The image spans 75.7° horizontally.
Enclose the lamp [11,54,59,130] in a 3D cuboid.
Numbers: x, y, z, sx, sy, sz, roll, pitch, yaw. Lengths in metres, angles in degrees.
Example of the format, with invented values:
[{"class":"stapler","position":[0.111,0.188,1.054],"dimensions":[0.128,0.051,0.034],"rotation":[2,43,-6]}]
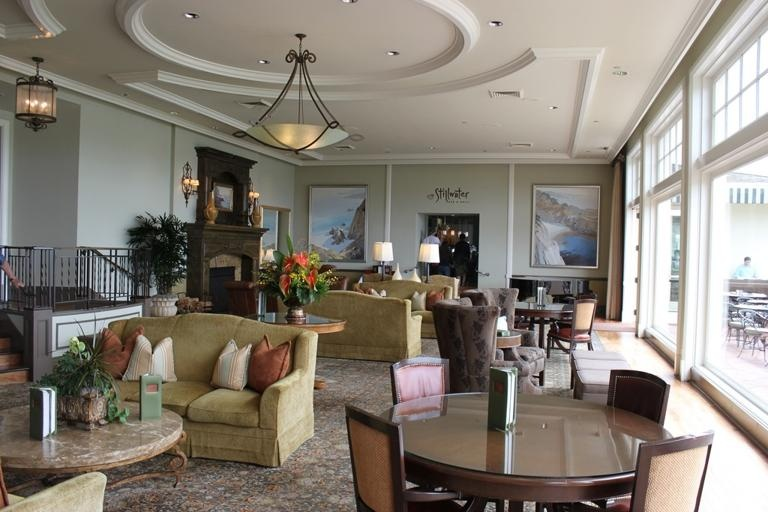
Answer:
[{"class":"lamp","position":[-4.717,-2.088,6.710],"dimensions":[0.477,0.711,0.337],"rotation":[0,1,-9]}]

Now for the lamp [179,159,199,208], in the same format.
[{"class":"lamp","position":[-4.321,-1.617,10.938],"dimensions":[0.393,0.988,0.603],"rotation":[-1,1,-22]}]

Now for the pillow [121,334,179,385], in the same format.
[{"class":"pillow","position":[-2.352,1.028,4.984],"dimensions":[0.453,0.392,0.258],"rotation":[5,-5,-20]}]

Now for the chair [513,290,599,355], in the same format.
[{"class":"chair","position":[2.705,1.060,8.006],"dimensions":[1.219,0.804,1.227],"rotation":[-2,-1,31]}]

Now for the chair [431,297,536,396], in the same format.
[{"class":"chair","position":[1.080,0.915,5.497],"dimensions":[1.038,1.009,1.059],"rotation":[0,-3,9]}]

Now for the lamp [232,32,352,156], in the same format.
[{"class":"lamp","position":[-1.231,-2.466,7.150],"dimensions":[1.802,1.532,1.745],"rotation":[-1,11,-33]}]

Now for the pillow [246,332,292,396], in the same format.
[{"class":"pillow","position":[-1.158,1.069,4.850],"dimensions":[0.291,0.501,0.538],"rotation":[6,-5,-41]}]

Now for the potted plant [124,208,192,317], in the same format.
[{"class":"potted plant","position":[-4.524,0.236,10.241],"dimensions":[1.376,2.037,1.440],"rotation":[-9,-15,19]}]

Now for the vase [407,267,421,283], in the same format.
[{"class":"vase","position":[0.698,0.474,12.373],"dimensions":[0.267,0.333,0.238],"rotation":[4,14,13]}]

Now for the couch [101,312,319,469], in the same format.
[{"class":"couch","position":[-1.911,1.232,4.908],"dimensions":[2.200,1.037,1.066],"rotation":[2,9,9]}]

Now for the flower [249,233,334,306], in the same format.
[{"class":"flower","position":[-1.134,0.189,6.360],"dimensions":[1.042,0.857,1.023],"rotation":[1,5,3]}]

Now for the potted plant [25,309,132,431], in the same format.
[{"class":"potted plant","position":[-2.364,1.023,3.929],"dimensions":[0.467,0.547,0.464],"rotation":[1,-9,0]}]

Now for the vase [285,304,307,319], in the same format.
[{"class":"vase","position":[-1.105,0.686,6.154],"dimensions":[0.203,0.128,0.196],"rotation":[2,1,18]}]

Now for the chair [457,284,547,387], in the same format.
[{"class":"chair","position":[1.447,0.999,6.636],"dimensions":[1.318,1.665,1.492],"rotation":[-2,-4,23]}]
